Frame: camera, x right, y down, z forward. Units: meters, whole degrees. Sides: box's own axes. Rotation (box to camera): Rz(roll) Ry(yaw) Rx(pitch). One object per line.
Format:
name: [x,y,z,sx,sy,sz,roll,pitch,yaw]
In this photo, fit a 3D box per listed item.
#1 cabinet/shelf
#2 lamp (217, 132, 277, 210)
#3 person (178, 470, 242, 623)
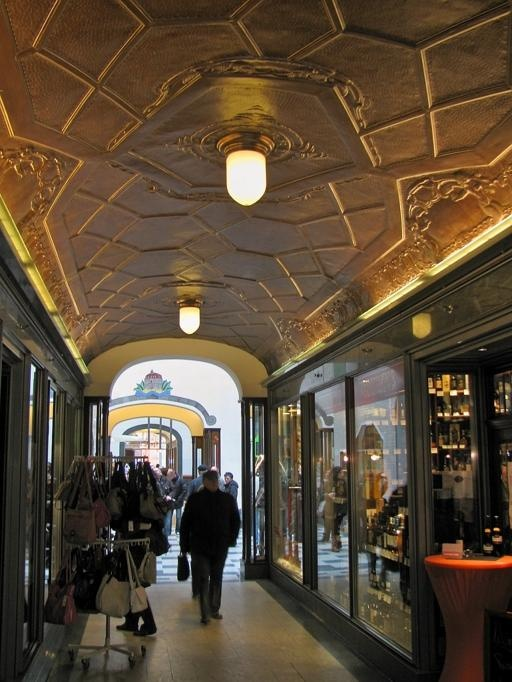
cabinet/shelf: [1.550,0.621,3.902,0.252,0.657,0.088,11,-29,-3]
lamp: [-0.051,-0.912,2.735,0.313,0.334,0.317,-7,13,-37]
person: [-0.555,2.349,5.623,0.695,1.745,0.437,6,-4,-18]
